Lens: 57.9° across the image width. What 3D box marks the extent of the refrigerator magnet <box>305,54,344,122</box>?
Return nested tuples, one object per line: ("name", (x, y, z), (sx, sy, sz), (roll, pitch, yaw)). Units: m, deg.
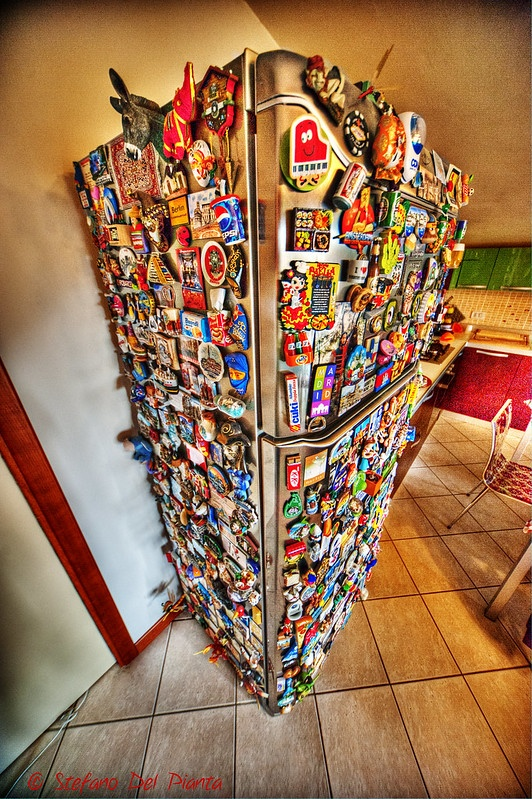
("refrigerator magnet", (0.128, -0.629, 0.975), (0.071, 0.126, 0.030), (-50, 41, -5))
